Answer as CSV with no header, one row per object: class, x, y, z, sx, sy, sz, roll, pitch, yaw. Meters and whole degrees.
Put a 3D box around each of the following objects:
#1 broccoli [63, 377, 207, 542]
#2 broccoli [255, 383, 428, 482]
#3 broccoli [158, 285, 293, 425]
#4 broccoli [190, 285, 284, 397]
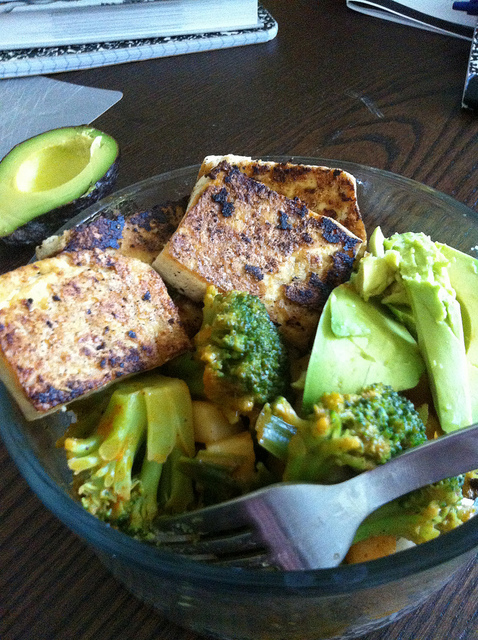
broccoli,-0.113,0.171,0.704,0.140,0.151,0.181,-3,22,-16
broccoli,0.106,0.122,0.611,0.150,0.189,0.080,1,83,-41
broccoli,-0.004,0.064,0.762,0.181,0.074,0.180,32,71,12
broccoli,-0.010,0.029,0.748,0.130,0.061,0.126,19,61,-22
